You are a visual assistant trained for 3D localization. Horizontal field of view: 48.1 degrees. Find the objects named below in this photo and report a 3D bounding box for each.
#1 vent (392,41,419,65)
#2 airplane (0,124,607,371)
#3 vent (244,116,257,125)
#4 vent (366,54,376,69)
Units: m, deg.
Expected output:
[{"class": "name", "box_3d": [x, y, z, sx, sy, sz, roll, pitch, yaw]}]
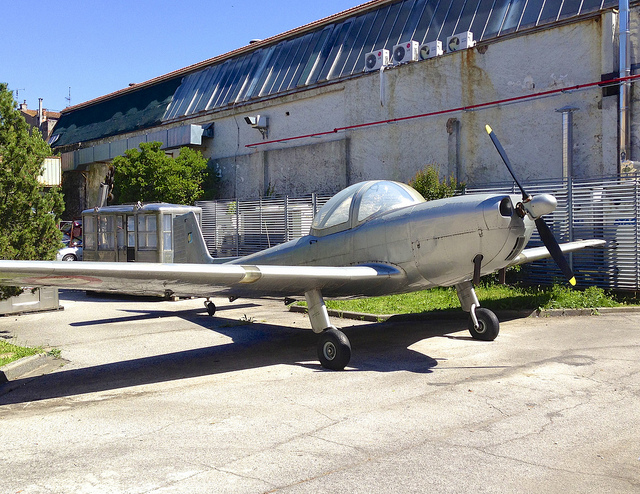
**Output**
[{"class": "vent", "box_3d": [2.767, -6.375, 23.460, 0.849, 0.719, 0.606, 1, 14, 11]}, {"class": "airplane", "box_3d": [-0.510, 0.335, 12.553, 9.018, 2.794, 3.919, -4, 14, -11]}, {"class": "vent", "box_3d": [-2.702, -5.033, 28.443, 0.533, 0.339, 0.352, -6, 5, -26]}, {"class": "vent", "box_3d": [1.730, -6.347, 24.464, 0.095, 0.566, 0.627, -6, 5, -40]}]
